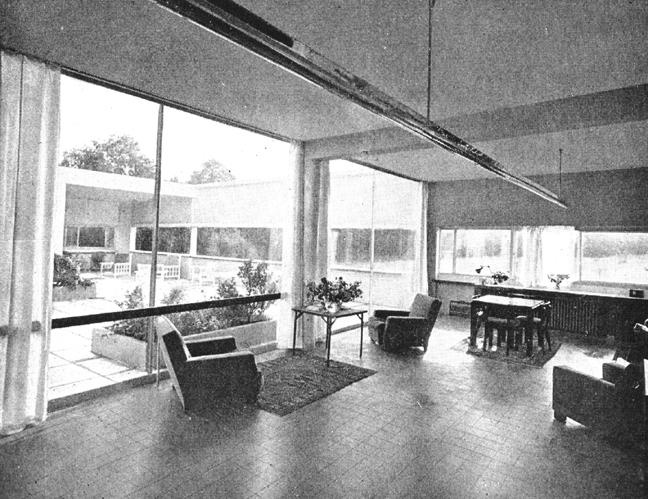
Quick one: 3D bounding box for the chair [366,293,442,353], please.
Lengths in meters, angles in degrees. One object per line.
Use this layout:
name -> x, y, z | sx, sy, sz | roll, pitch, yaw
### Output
chair -> 1.188, 1.103, 8.019 | 0.911, 0.890, 0.710 | 0, -5, -11

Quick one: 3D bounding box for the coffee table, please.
coffee table -> 0.041, 1.100, 7.457 | 0.758, 0.845, 0.843 | 1, 0, 34

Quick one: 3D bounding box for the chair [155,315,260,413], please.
chair -> -1.247, 1.076, 5.794 | 0.977, 0.868, 0.955 | -2, 3, -21

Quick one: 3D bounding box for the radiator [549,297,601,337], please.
radiator -> 2.127, 0.553, 4.503 | 0.382, 0.308, 0.142 | 3, 8, 25

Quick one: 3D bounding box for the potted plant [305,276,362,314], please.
potted plant -> 0.070, 0.581, 7.389 | 0.868, 0.449, 0.506 | 7, 10, 42

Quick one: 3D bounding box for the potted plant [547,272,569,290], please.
potted plant -> 2.016, 0.260, 4.579 | 0.109, 0.124, 0.131 | 1, 1, 36
